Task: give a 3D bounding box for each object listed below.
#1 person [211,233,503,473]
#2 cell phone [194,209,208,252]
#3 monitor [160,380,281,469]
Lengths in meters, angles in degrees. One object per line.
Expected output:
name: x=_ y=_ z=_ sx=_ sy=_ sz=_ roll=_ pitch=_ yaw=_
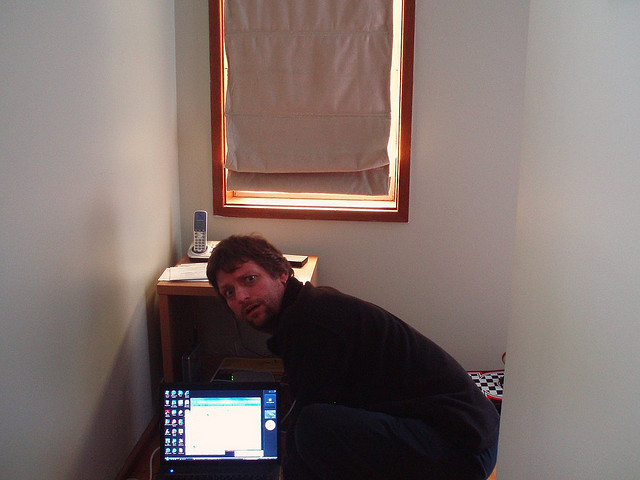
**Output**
person: x=0.121 y=0.281 z=1.557 sx=0.647 sy=0.804 sz=0.625 roll=-1 pitch=-17 yaw=10
cell phone: x=-0.456 y=-0.031 z=1.985 sx=0.045 sy=0.155 sz=0.096 roll=1 pitch=4 yaw=-14
monitor: x=-0.286 y=0.528 z=1.493 sx=0.355 sy=0.264 sz=0.030 roll=3 pitch=4 yaw=0
